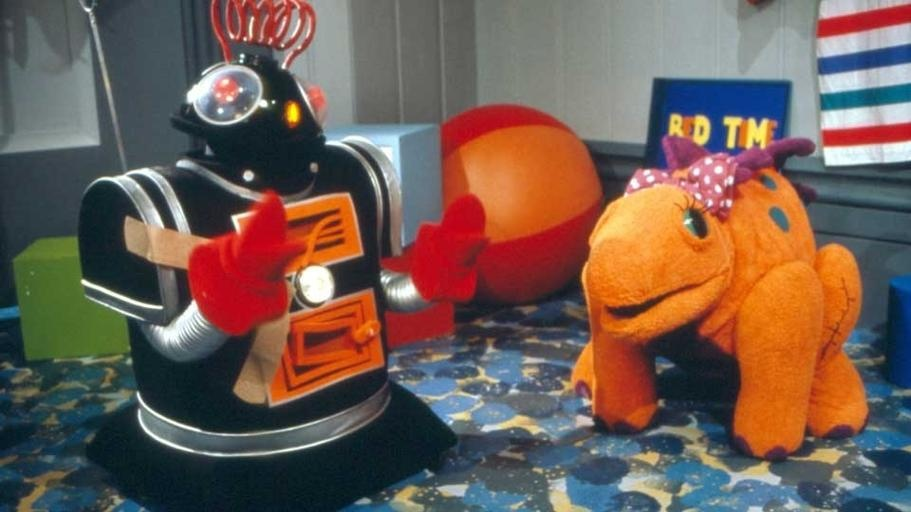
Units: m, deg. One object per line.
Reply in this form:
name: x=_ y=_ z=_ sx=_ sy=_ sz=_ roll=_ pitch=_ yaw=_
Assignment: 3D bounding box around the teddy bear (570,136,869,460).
teddy bear: x=1.100 y=0.129 z=3.655 sx=1.462 sy=1.314 sz=1.455 roll=9 pitch=19 yaw=27
